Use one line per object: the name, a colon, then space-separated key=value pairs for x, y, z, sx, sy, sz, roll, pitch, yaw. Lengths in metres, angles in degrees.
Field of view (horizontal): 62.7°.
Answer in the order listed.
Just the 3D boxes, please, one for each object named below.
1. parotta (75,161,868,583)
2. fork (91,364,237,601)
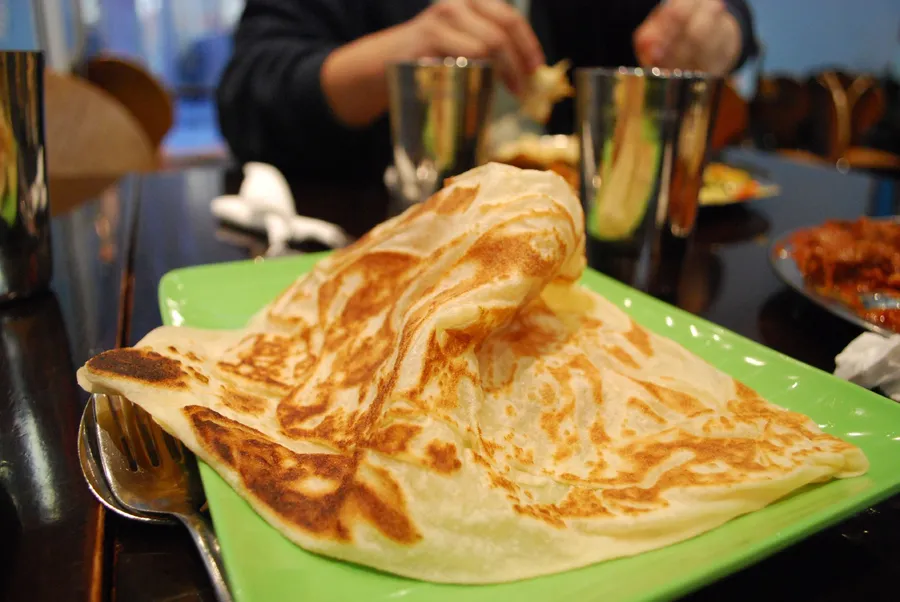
parotta: x=0.041 y=0.119 z=1.044 sx=0.747 sy=0.248 sz=0.742 roll=-12 pitch=33 yaw=-35
fork: x=-0.429 y=0.229 z=1.051 sx=0.113 sy=0.073 sz=0.494 roll=-10 pitch=46 yaw=-35
